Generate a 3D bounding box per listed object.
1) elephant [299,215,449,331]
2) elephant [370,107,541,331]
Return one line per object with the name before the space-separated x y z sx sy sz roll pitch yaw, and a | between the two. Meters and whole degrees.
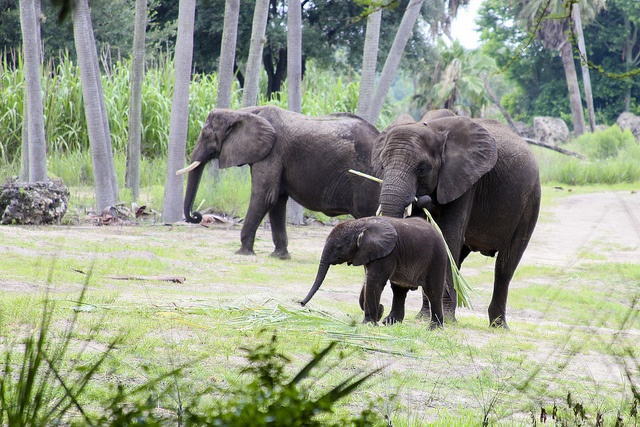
elephant | 0.656 0.657 8.634 1.740 1.304 0.827 4 -3 -11
elephant | 1.647 0.148 9.913 3.230 2.584 1.994 12 -10 -38
